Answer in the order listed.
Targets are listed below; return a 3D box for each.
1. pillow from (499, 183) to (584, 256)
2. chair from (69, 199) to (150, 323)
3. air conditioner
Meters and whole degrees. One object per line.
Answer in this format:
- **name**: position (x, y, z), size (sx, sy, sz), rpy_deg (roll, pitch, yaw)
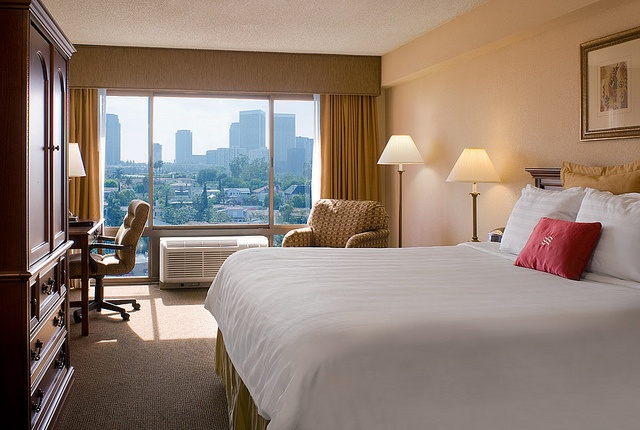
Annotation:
- **pillow**: position (1.661, 0.004, 3.501), size (0.153, 0.495, 0.521), rpy_deg (21, -8, -16)
- **chair**: position (-2.303, 0.466, 5.002), size (0.794, 1.251, 0.742), rpy_deg (2, 4, -23)
- **air conditioner**: position (-1.422, 0.623, 6.198), size (1.381, 0.686, 0.455), rpy_deg (0, 6, -19)
